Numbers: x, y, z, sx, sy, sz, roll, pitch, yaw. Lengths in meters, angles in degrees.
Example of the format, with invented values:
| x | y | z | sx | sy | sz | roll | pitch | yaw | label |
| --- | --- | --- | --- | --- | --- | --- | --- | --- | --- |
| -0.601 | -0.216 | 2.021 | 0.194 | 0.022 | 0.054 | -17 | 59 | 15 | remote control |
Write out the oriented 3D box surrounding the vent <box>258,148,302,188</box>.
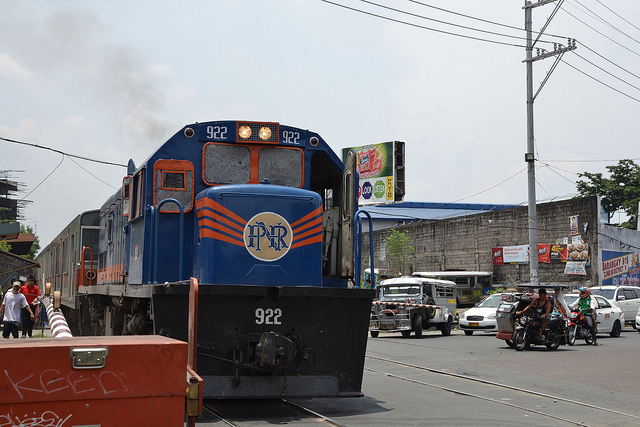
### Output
| x | y | z | sx | sy | sz | roll | pitch | yaw | label |
| --- | --- | --- | --- | --- | --- | --- | --- | --- | --- |
| -0.653 | -0.786 | 11.322 | 0.725 | 0.678 | 0.169 | 2 | 1 | -22 | vent |

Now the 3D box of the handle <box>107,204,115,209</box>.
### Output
| x | y | z | sx | sy | sz | roll | pitch | yaw | label |
| --- | --- | --- | --- | --- | --- | --- | --- | --- | --- |
| -4.853 | -0.172 | 14.841 | 0.106 | 0.109 | 0.025 | 4 | 16 | 12 | handle |

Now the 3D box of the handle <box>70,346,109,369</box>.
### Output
| x | y | z | sx | sy | sz | roll | pitch | yaw | label |
| --- | --- | --- | --- | --- | --- | --- | --- | --- | --- |
| -2.226 | 1.382 | 6.154 | 0.357 | 0.170 | 0.042 | 4 | 1 | -18 | handle |

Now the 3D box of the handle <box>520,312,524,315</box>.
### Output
| x | y | z | sx | sy | sz | roll | pitch | yaw | label |
| --- | --- | --- | --- | --- | --- | --- | --- | --- | --- |
| 6.422 | 3.144 | 20.234 | 0.111 | 0.109 | 0.027 | 3 | -2 | 8 | handle |

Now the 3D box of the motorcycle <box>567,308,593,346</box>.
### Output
| x | y | z | sx | sy | sz | roll | pitch | yaw | label |
| --- | --- | --- | --- | --- | --- | --- | --- | --- | --- |
| 8.907 | 3.848 | 21.885 | 1.268 | 1.323 | 0.585 | 4 | 1 | -41 | motorcycle |

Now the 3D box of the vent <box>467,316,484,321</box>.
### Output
| x | y | z | sx | sy | sz | roll | pitch | yaw | label |
| --- | --- | --- | --- | --- | --- | --- | --- | --- | --- |
| 6.532 | 4.352 | 26.679 | 0.643 | 0.186 | 0.157 | 5 | 1 | 15 | vent |

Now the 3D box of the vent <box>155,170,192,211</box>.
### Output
| x | y | z | sx | sy | sz | roll | pitch | yaw | label |
| --- | --- | --- | --- | --- | --- | --- | --- | --- | --- |
| -2.502 | -0.385 | 10.795 | 0.676 | 0.792 | 0.112 | 1 | -1 | -5 | vent |

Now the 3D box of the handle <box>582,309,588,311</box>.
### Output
| x | y | z | sx | sy | sz | roll | pitch | yaw | label |
| --- | --- | --- | --- | --- | --- | --- | --- | --- | --- |
| 9.151 | 3.290 | 21.905 | 0.145 | 0.049 | 0.063 | 5 | 1 | 8 | handle |

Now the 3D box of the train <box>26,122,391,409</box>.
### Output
| x | y | z | sx | sy | sz | roll | pitch | yaw | label |
| --- | --- | --- | --- | --- | --- | --- | --- | --- | --- |
| -3.884 | 0.877 | 18.269 | 3.881 | 4.953 | 18.738 | 0 | -1 | -21 | train |
